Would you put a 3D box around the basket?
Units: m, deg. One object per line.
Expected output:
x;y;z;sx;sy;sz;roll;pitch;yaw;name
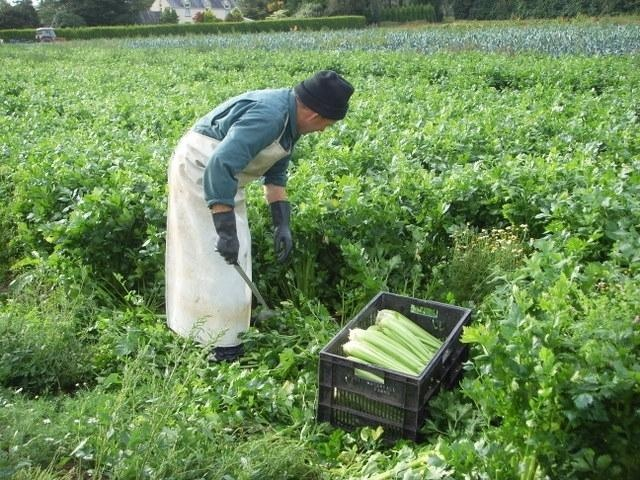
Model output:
0.573;0.973;4.728;0.796;0.631;1.135;10;23;28;basket

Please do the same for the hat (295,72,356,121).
0.032;-1.131;4.878;0.535;0.334;0.492;13;11;2;hat

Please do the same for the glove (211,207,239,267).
-0.725;-0.012;4.755;0.179;0.468;0.180;-10;33;-10;glove
